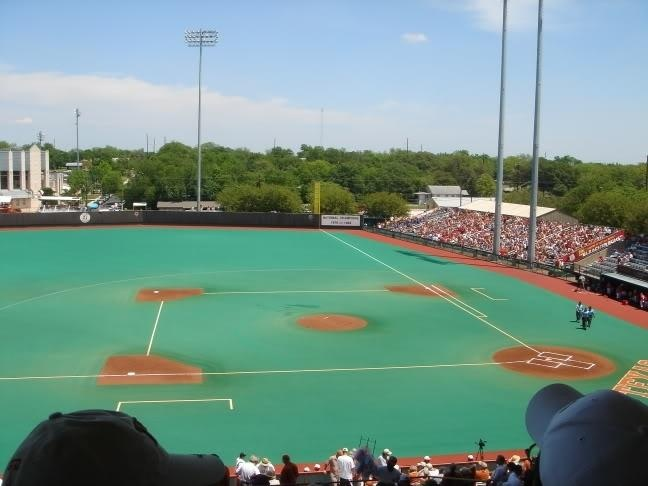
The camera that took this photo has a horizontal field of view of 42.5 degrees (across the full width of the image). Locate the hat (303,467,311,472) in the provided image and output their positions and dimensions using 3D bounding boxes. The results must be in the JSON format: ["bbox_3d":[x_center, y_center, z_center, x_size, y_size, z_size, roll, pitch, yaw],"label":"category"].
[{"bbox_3d":[-0.527,7.423,27.076,0.185,0.059,0.184,-5,10,-36],"label":"hat"}]

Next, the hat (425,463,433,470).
[{"bbox_3d":[3.274,7.013,26.027,0.168,0.095,0.328,-10,-28,17],"label":"hat"}]

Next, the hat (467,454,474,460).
[{"bbox_3d":[4.964,7.318,28.214,0.197,0.202,0.236,-3,-7,39],"label":"hat"}]

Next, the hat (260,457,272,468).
[{"bbox_3d":[-1.909,6.964,26.329,0.405,0.142,0.376,-2,-5,39],"label":"hat"}]

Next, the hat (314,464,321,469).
[{"bbox_3d":[-0.221,7.393,27.394,0.207,0.088,0.275,2,2,0],"label":"hat"}]
